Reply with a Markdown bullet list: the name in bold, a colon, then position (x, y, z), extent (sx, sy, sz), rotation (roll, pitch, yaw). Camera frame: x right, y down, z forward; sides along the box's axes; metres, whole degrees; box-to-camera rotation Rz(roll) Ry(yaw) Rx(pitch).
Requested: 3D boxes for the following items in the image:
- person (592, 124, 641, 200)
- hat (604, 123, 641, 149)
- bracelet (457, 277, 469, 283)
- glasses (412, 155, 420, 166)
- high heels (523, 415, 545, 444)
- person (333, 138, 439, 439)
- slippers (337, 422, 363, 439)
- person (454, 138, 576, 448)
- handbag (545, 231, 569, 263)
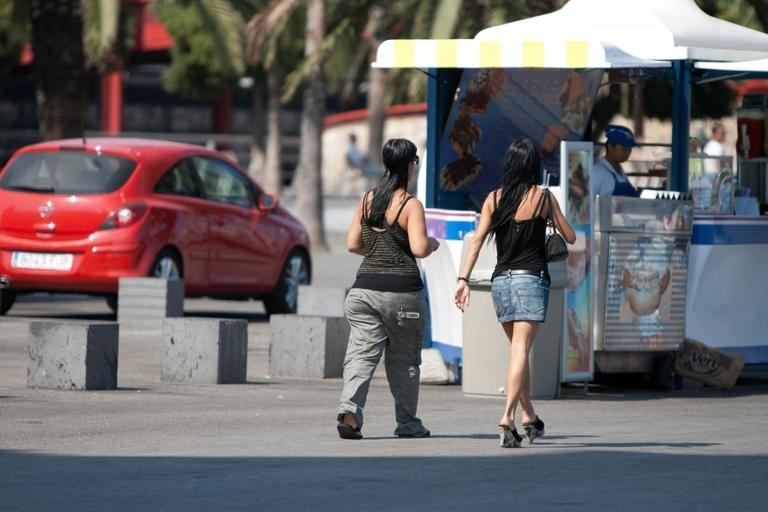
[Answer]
- **person**: position (2.575, -1.039, 21.193), extent (0.523, 0.743, 0.719), rotation (9, 15, 29)
- **hat**: position (2.655, -1.345, 21.287), extent (0.292, 0.173, 0.228), rotation (17, 14, 19)
- **bracelet**: position (0.767, 0.240, 17.958), extent (0.075, 0.032, 0.057), rotation (19, -7, -43)
- **glasses**: position (0.300, -0.904, 18.045), extent (0.057, 0.051, 0.083), rotation (-1, 17, 3)
- **high heels**: position (1.421, 1.645, 17.958), extent (0.110, 0.150, 0.350), rotation (0, 5, 20)
- **person**: position (0.036, 0.334, 17.974), extent (0.924, 2.792, 0.850), rotation (0, 13, -4)
- **slippers**: position (-0.304, 1.635, 17.829), extent (0.254, 0.112, 0.080), rotation (-11, 13, 28)
- **person**: position (1.222, 0.354, 17.946), extent (0.836, 2.799, 0.940), rotation (9, 15, 31)
- **handbag**: position (1.613, -0.093, 18.002), extent (0.256, 0.436, 0.222), rotation (-4, 0, 2)
